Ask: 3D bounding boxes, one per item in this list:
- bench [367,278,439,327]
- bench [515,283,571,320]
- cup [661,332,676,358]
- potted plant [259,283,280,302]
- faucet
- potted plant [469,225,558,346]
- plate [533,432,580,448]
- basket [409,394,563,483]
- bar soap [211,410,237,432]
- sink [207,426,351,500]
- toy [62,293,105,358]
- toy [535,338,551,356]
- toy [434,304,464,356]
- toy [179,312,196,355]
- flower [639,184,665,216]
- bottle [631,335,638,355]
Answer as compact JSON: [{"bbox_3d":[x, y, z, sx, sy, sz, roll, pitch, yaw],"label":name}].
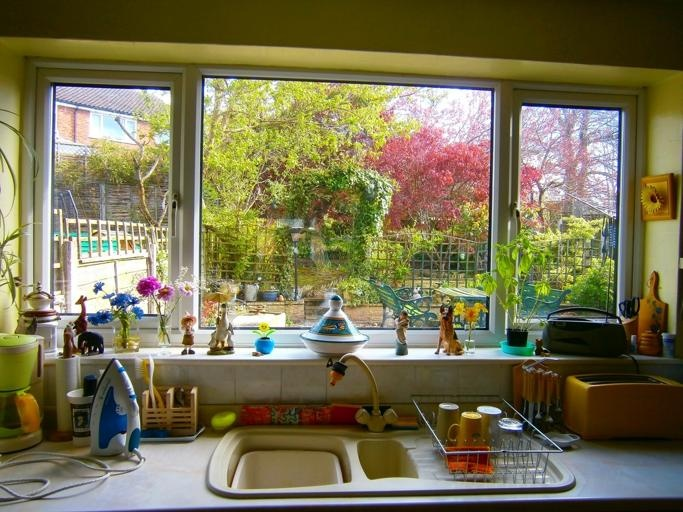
[{"bbox_3d":[0.297,0.230,3.047,0.322,0.253,0.200,-2,1,-12],"label":"bench"},{"bbox_3d":[0.981,0.225,2.964,0.316,0.236,0.126,1,1,-4],"label":"bench"},{"bbox_3d":[1.497,0.409,2.757,0.084,0.126,0.077,0,-1,0],"label":"cup"},{"bbox_3d":[-0.349,0.174,2.897,0.083,0.056,0.085,0,0,32],"label":"potted plant"},{"bbox_3d":[0.092,0.576,2.556,0.299,0.324,0.229,-2,3,-1],"label":"faucet"},{"bbox_3d":[0.841,0.139,2.881,0.370,0.541,0.263,-2,3,8],"label":"potted plant"},{"bbox_3d":[0.867,0.743,2.441,0.119,0.027,0.087,1,4,22],"label":"plate"},{"bbox_3d":[0.595,0.711,2.414,0.545,0.235,0.531,-3,3,-5],"label":"basket"},{"bbox_3d":[-0.497,0.694,2.526,0.088,0.054,0.067,-3,3,6],"label":"bar soap"},{"bbox_3d":[-0.235,0.846,2.304,0.543,0.230,0.456,-2,3,1],"label":"sink"},{"bbox_3d":[-1.137,0.303,2.686,0.129,0.257,0.283,-3,3,-23],"label":"toy"},{"bbox_3d":[0.914,0.423,2.764,0.085,0.087,0.049,6,0,-8],"label":"toy"},{"bbox_3d":[0.506,0.332,2.839,0.129,0.228,0.234,-2,3,10],"label":"toy"},{"bbox_3d":[-0.686,0.351,2.700,0.062,0.165,0.096,-2,3,-3],"label":"toy"},{"bbox_3d":[1.490,-0.271,2.881,0.041,0.159,0.153,-1,2,-16],"label":"flower"},{"bbox_3d":[1.374,0.412,2.834,0.028,0.078,0.064,-1,3,28],"label":"bottle"}]
